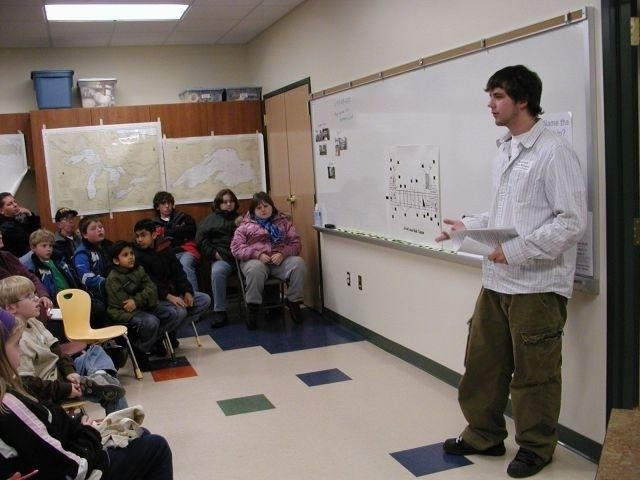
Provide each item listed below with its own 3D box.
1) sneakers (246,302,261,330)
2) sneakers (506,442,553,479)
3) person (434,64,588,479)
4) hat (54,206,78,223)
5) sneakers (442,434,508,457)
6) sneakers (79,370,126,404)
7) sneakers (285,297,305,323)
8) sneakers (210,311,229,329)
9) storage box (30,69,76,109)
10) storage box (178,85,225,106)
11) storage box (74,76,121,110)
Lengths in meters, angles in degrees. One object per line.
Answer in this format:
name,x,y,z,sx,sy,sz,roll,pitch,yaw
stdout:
sneakers,-0.753,0.876,5.379,0.105,0.329,0.226,-1,-3,-23
sneakers,1.179,1.202,2.548,0.310,0.135,0.106,3,-4,-37
person,1.049,0.195,2.489,0.687,2.180,0.409,1,8,31
hat,-2.874,-0.293,5.113,0.246,0.129,0.174,-24,-5,22
sneakers,0.940,1.240,2.793,0.355,0.156,0.135,3,3,7
sneakers,-1.340,0.886,2.871,0.320,0.155,0.180,9,3,8
sneakers,-0.278,0.860,5.550,0.129,0.390,0.159,-19,-7,-28
sneakers,-1.214,0.960,5.516,0.123,0.260,0.263,-3,-6,35
storage box,-3.670,-2.041,6.379,0.637,0.566,0.493,-2,0,-19
storage box,-1.729,-2.060,6.593,0.419,0.199,0.585,-1,5,-8
storage box,-3.119,-2.035,6.370,0.593,0.438,0.415,-2,-1,-22
